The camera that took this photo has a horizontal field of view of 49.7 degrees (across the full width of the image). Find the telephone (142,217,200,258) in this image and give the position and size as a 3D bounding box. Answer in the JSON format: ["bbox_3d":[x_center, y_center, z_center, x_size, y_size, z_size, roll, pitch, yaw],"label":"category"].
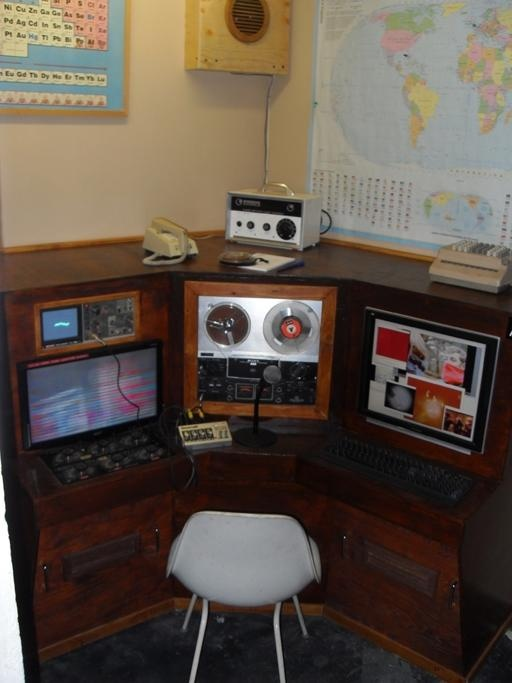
[{"bbox_3d":[-0.379,-0.454,2.456,0.155,0.138,0.249,-13,29,-36],"label":"telephone"}]

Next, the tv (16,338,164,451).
[{"bbox_3d":[-0.662,0.202,2.143,0.437,0.251,0.043,-8,16,-33],"label":"tv"}]

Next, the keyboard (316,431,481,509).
[{"bbox_3d":[0.519,0.478,2.097,0.565,0.053,0.263,11,16,35],"label":"keyboard"}]

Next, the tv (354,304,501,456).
[{"bbox_3d":[0.667,0.139,2.088,0.522,0.444,0.053,19,27,32],"label":"tv"}]

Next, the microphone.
[{"bbox_3d":[0.003,0.237,2.261,0.180,0.332,0.245,2,13,0],"label":"microphone"}]
